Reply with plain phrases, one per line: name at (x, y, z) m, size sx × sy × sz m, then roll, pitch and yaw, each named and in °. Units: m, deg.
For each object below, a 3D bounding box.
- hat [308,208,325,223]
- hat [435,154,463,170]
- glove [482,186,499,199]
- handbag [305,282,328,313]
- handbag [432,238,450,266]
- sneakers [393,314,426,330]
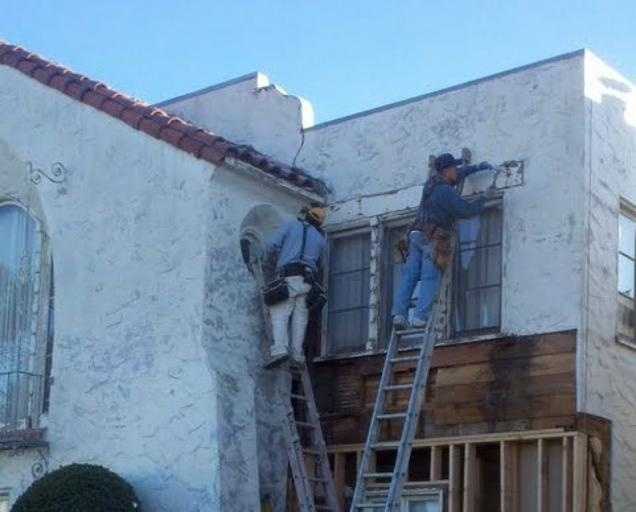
hat at (-0.002, -0.580, 21.177) m, size 0.171 × 0.216 × 0.201 m, roll 27°, pitch -67°, yaw -21°
hat at (1.713, -1.247, 20.467) m, size 0.286 × 0.171 × 0.189 m, roll -21°, pitch 15°, yaw -9°
glove at (2.227, -0.822, 20.319) m, size 0.213 × 0.086 × 0.128 m, roll -5°, pitch -4°, yaw -37°
handbag at (-0.014, 0.552, 20.805) m, size 0.138 × 0.367 × 0.262 m, roll 14°, pitch -28°, yaw 46°
handbag at (1.601, -0.049, 20.122) m, size 0.242 × 0.325 × 0.119 m, roll 13°, pitch -12°, yaw -28°
sneakers at (1.160, 0.850, 19.910) m, size 0.435 × 0.197 × 0.164 m, roll -4°, pitch -8°, yaw 12°
